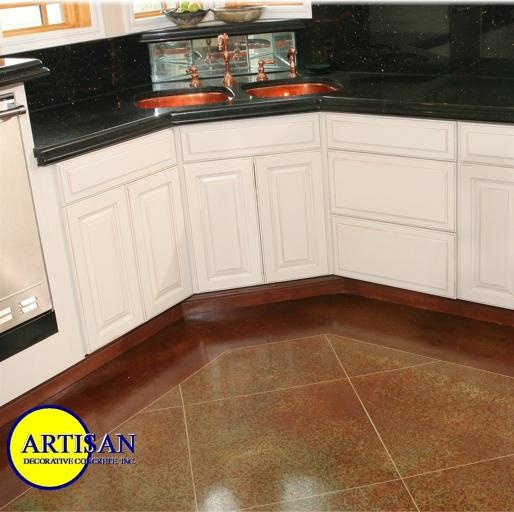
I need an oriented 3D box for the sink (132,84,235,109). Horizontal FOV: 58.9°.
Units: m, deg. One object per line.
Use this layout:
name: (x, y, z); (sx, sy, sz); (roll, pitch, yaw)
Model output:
sink: (-0.392, -0.869, 2.489); (0.344, 0.080, 0.190); (-6, 50, -4)
